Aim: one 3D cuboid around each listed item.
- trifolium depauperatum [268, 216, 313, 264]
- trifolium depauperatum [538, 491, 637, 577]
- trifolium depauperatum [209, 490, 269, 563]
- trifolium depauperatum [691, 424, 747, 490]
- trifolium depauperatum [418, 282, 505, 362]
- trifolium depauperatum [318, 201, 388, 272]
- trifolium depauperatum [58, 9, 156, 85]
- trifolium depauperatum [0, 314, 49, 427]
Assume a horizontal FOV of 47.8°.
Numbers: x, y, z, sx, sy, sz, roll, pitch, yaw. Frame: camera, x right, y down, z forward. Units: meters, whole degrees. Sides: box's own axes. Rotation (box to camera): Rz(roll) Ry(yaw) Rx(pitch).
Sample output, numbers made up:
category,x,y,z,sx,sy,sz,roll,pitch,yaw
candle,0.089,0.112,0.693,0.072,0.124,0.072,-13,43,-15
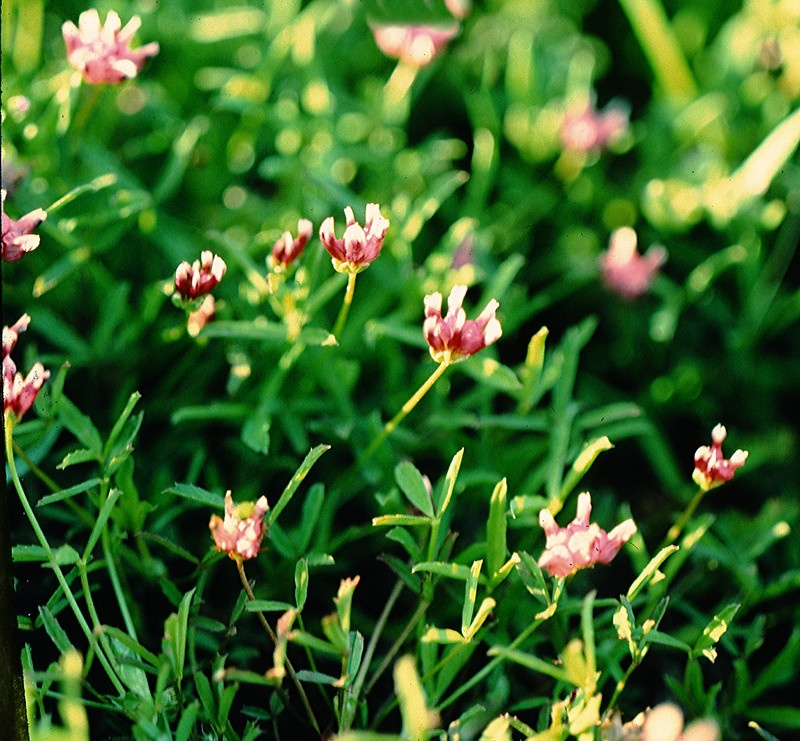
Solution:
category,x,y,z,sx,sy,sz,roll,pitch,yaw
trifolium depauperatum,-0.090,-0.124,0.778,0.017,0.028,0.071,5,45,14
trifolium depauperatum,0.132,0.115,0.634,0.052,0.027,0.066,1,44,-6
trifolium depauperatum,-0.111,0.101,0.636,0.040,0.047,0.043,-12,14,-20
trifolium depauperatum,0.234,0.068,0.684,0.029,0.039,0.041,-11,69,-20
trifolium depauperatum,0.045,-0.031,0.670,0.047,0.028,0.057,-1,56,-34
trifolium depauperatum,-0.035,-0.083,0.676,0.041,0.046,0.049,11,2,33
trifolium depauperatum,-0.244,-0.266,0.750,0.058,0.024,0.080,3,85,-14
trifolium depauperatum,-0.272,0.000,0.657,0.031,0.058,0.067,-4,47,-23
